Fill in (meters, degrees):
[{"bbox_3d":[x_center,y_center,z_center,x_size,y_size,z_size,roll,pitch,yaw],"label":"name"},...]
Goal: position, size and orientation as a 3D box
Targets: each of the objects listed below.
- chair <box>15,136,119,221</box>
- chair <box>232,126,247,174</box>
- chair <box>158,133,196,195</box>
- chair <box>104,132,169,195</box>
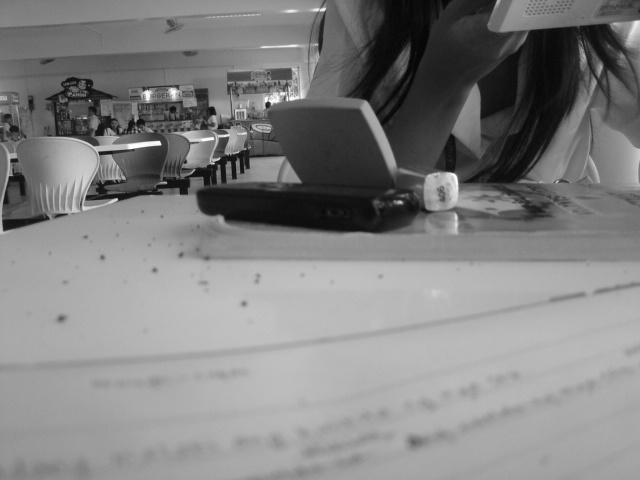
[{"bbox_3d":[-1.821,-0.430,3.002,0.509,0.563,0.590,-1,6,-24],"label":"chair"},{"bbox_3d":[-1.757,-1.854,9.103,0.480,0.722,0.446,0,2,-24],"label":"chair"},{"bbox_3d":[-1.568,-0.736,4.482,0.428,0.707,0.482,-7,15,-23],"label":"chair"},{"bbox_3d":[-1.888,-0.785,4.418,0.534,0.638,0.533,-5,11,-20],"label":"chair"}]
